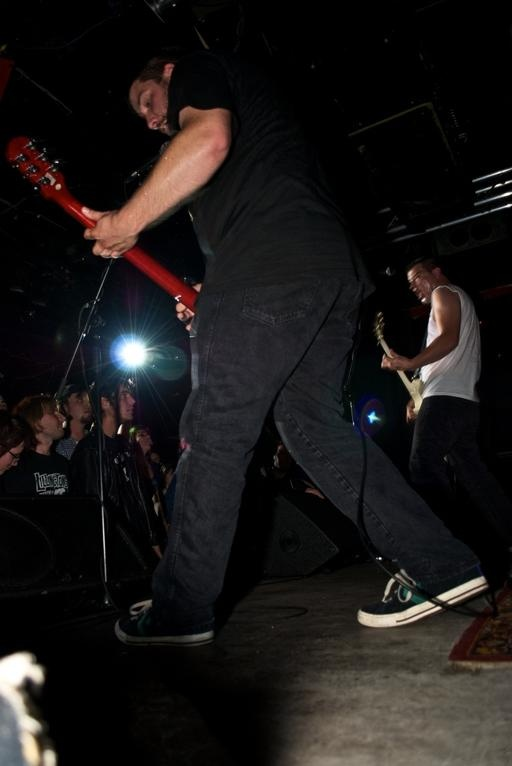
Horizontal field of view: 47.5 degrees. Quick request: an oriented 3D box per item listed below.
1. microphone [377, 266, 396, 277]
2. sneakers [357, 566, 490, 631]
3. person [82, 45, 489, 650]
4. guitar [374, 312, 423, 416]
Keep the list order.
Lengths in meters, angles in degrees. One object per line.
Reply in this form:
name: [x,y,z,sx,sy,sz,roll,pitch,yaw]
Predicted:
microphone: [1.500,-1.275,6.711,0.185,0.095,0.107,0,-33,25]
sneakers: [0.425,0.580,1.621,0.385,0.153,0.142,-22,-17,17]
person: [0.034,-0.121,1.634,0.926,1.602,0.471,-3,-9,-15]
guitar: [1.001,-0.132,4.174,0.145,0.798,0.286,-36,26,-1]
